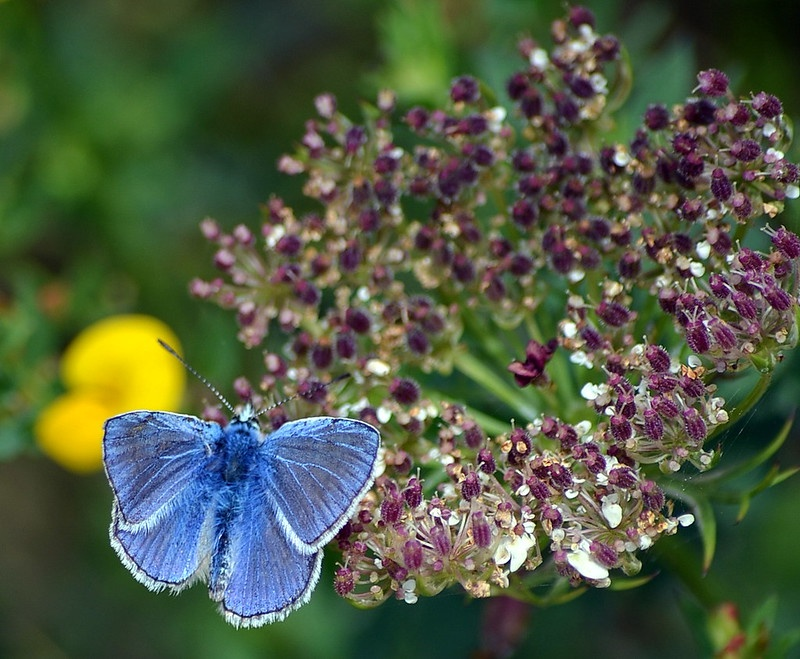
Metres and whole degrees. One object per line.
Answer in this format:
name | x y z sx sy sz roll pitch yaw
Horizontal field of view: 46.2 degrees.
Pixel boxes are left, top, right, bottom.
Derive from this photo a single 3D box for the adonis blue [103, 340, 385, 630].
adonis blue | -0.308 0.310 1.787 0.415 0.138 0.484 9 84 21
